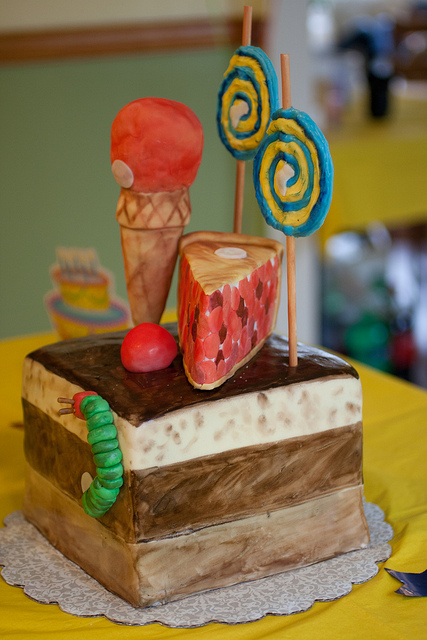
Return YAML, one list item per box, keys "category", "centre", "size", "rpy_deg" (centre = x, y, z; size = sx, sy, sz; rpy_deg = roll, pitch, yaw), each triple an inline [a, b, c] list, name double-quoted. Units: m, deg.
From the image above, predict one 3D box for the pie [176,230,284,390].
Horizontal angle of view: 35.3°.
- category: "pie"
  centre: [0.004, -0.012, 0.695]
  size: [0.131, 0.110, 0.167]
  rpy_deg: [5, 26, 3]

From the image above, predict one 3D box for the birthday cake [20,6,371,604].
- category: "birthday cake"
  centre: [-0.011, -0.003, 0.719]
  size: [0.337, 0.498, 0.282]
  rpy_deg: [-6, 10, -28]

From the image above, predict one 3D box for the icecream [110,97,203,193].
- category: "icecream"
  centre: [-0.058, -0.183, 0.701]
  size: [0.107, 0.091, 0.094]
  rpy_deg: [6, 27, 4]
